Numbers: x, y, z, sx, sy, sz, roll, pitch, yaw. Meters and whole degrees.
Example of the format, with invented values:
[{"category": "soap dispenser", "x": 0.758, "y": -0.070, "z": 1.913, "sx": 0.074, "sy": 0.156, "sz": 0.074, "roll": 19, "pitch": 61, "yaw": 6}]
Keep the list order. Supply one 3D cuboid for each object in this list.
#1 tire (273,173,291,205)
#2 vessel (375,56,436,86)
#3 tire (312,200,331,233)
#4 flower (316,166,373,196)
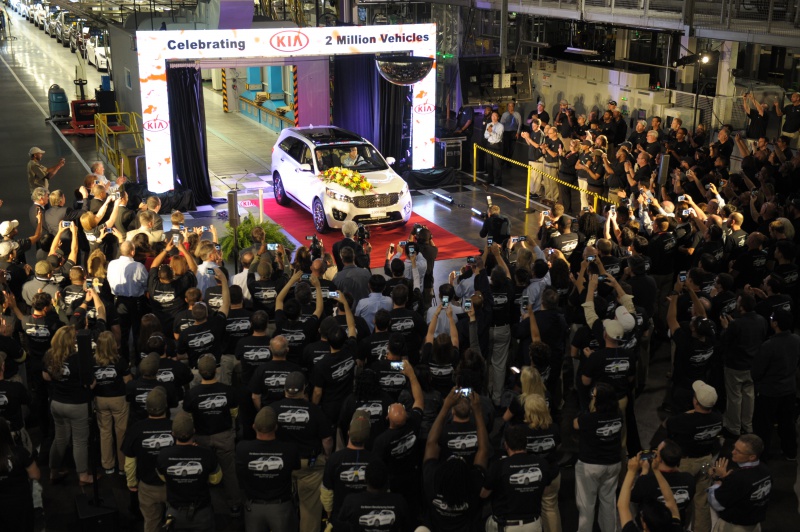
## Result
[{"category": "tire", "x": -2.986, "y": -1.956, "z": 17.612, "sx": 0.218, "sy": 0.669, "sz": 0.656, "roll": -6, "pitch": 15, "yaw": -26}, {"category": "vessel", "x": 0.126, "y": -4.835, "z": 17.188, "sx": 1.542, "sy": 0.739, "sz": 0.909, "roll": -2, "pitch": 10, "yaw": -14}, {"category": "tire", "x": -1.796, "y": -1.152, "z": 15.945, "sx": 0.246, "sy": 0.754, "sz": 0.732, "roll": -3, "pitch": 3, "yaw": -32}, {"category": "flower", "x": -1.211, "y": -1.954, "z": 15.821, "sx": 0.692, "sy": 0.296, "sz": 0.846, "roll": 20, "pitch": 23, "yaw": 1}]
